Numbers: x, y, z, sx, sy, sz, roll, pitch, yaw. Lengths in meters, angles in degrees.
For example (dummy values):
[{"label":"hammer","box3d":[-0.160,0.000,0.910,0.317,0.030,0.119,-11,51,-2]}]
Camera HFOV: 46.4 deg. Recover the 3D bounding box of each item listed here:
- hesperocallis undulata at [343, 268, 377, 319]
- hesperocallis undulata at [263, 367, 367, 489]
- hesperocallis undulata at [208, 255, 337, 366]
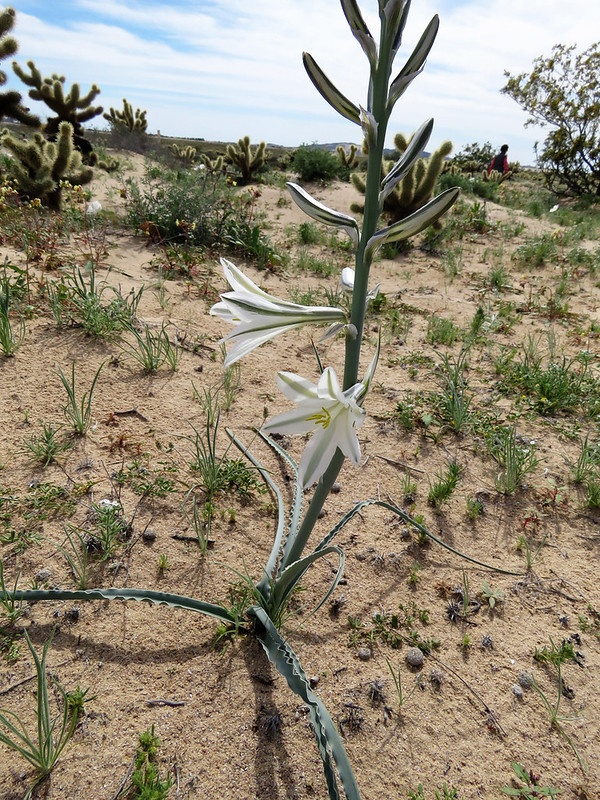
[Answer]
[{"label":"hesperocallis undulata","box3d":[0.155,-0.283,1.801,0.100,0.099,0.046,32,30,29]},{"label":"hesperocallis undulata","box3d":[0.028,0.069,1.591,0.217,0.327,0.250,10,15,1]},{"label":"hesperocallis undulata","box3d":[-0.029,-0.204,1.747,0.361,0.184,0.246,-3,16,-16]}]
